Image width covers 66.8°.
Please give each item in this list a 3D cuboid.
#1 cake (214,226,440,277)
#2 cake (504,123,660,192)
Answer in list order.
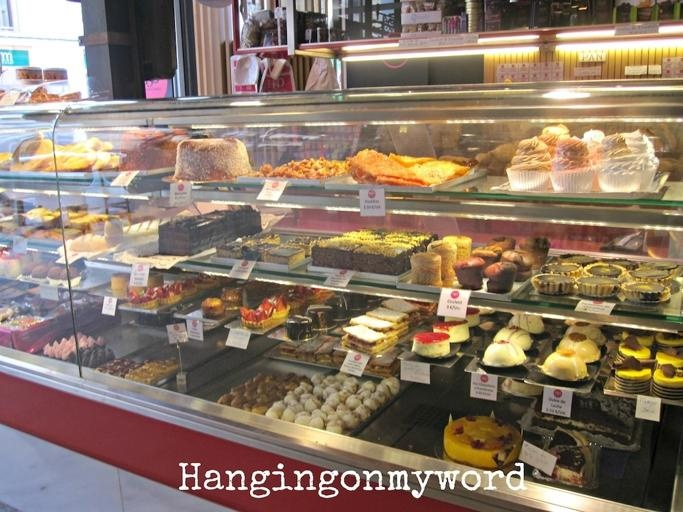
[{"bbox_3d":[-0.065,-0.026,2.189,0.665,0.091,0.309,5,14,24],"label":"cake"},{"bbox_3d":[0.782,-0.293,1.697,0.338,0.120,0.314,-8,12,-33],"label":"cake"}]
